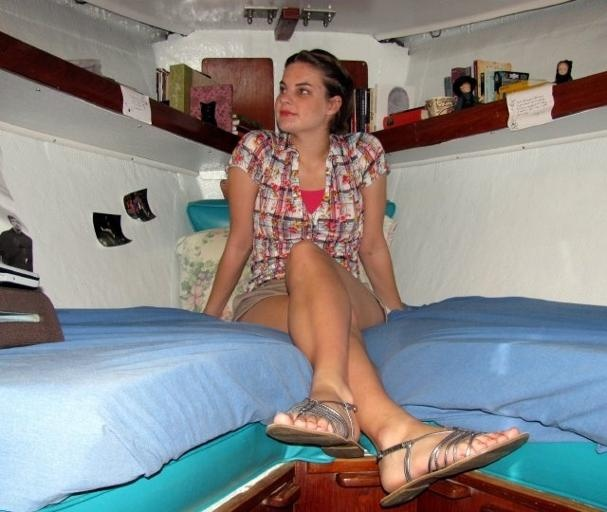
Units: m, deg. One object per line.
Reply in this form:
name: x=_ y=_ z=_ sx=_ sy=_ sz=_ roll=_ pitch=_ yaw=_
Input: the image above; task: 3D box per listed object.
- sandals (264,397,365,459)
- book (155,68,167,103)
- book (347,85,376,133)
sandals: x=0.022 y=0.320 z=0.761 sx=0.089 sy=0.070 sz=0.178 roll=-24 pitch=-41 yaw=33
book: x=-0.734 y=-0.891 z=2.279 sx=0.066 sy=0.179 sz=0.125 roll=-7 pitch=13 yaw=-16
book: x=0.362 y=-0.869 z=2.640 sx=0.110 sy=0.390 sz=0.282 roll=4 pitch=3 yaw=15
